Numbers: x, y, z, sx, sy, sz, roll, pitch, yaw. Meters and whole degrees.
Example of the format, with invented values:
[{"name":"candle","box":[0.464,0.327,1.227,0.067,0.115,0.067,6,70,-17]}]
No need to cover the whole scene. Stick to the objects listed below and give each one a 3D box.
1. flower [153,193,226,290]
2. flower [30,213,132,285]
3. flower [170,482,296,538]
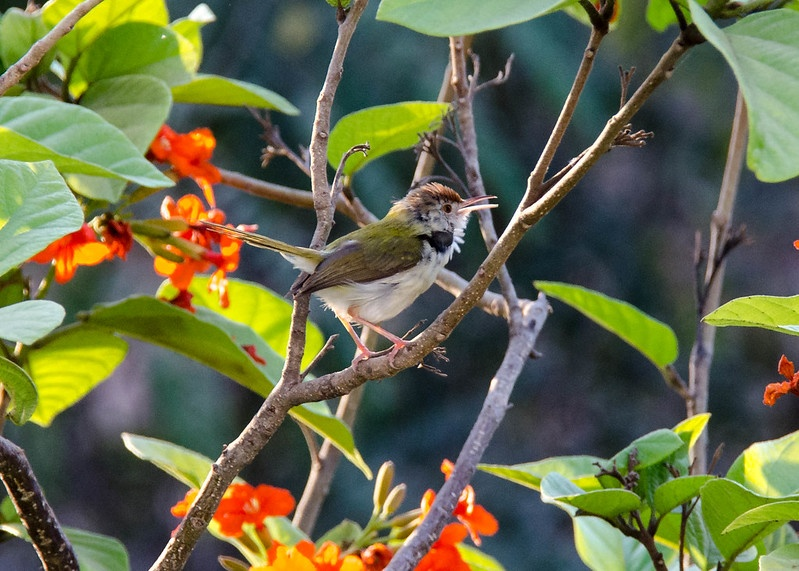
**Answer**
[{"name":"flower","box":[-0.741,-0.165,3.552,0.136,0.328,0.346,7,-20,-16]},{"name":"flower","box":[-1.011,-0.119,3.376,0.280,0.219,0.093,-13,19,4]},{"name":"flower","box":[-0.520,0.755,3.576,0.259,0.100,0.265,29,39,34]}]
